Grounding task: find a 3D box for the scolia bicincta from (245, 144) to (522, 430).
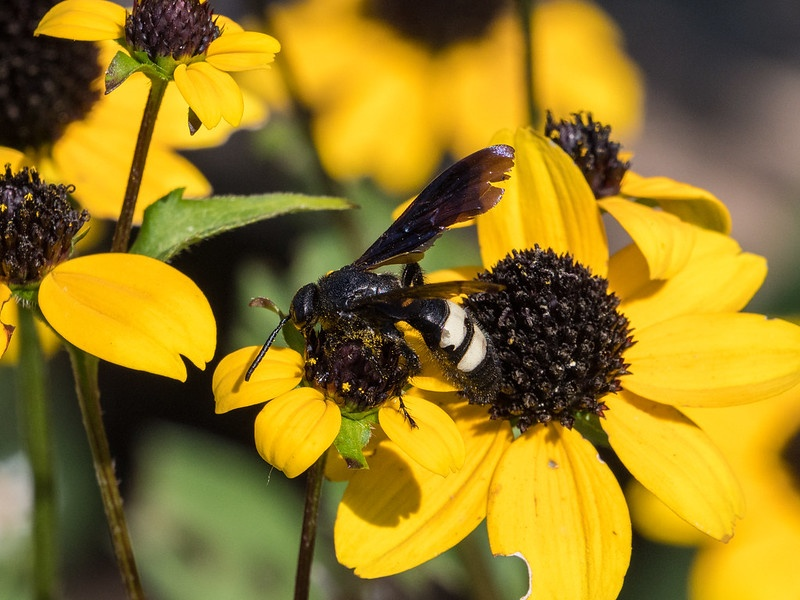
[{"bbox_3d":[-0.010,0.014,2.282,0.620,0.350,0.720,-7,34,16],"label":"scolia bicincta"}]
